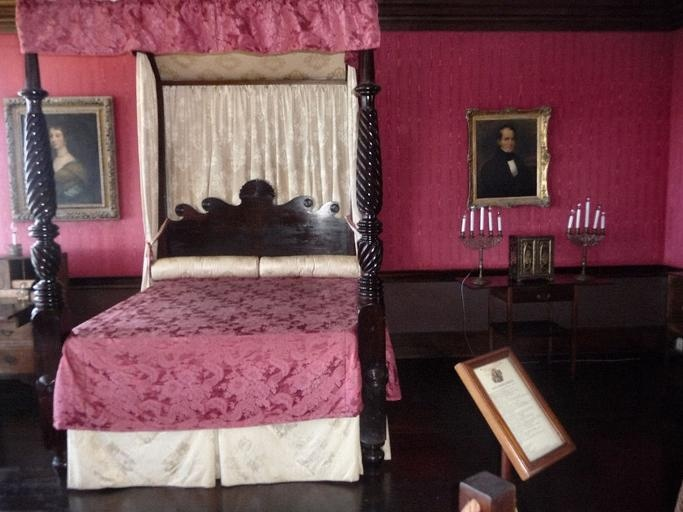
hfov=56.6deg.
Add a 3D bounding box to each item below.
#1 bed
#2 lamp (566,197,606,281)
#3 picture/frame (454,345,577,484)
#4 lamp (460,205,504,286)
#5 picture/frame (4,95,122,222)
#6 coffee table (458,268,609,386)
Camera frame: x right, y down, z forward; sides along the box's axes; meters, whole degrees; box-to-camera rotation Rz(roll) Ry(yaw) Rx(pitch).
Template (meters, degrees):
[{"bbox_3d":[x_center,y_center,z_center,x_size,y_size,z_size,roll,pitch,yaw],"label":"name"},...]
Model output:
[{"bbox_3d":[-0.856,0.498,5.857,2.601,2.030,3.468,0,7,8],"label":"bed"},{"bbox_3d":[2.443,-0.179,6.423,0.367,0.803,0.765,3,12,26],"label":"lamp"},{"bbox_3d":[1.054,0.957,3.786,0.664,0.831,0.185,-23,-11,-40],"label":"picture/frame"},{"bbox_3d":[1.413,-0.104,6.395,0.423,0.795,0.235,-1,21,9],"label":"lamp"},{"bbox_3d":[-2.609,-0.967,5.986,1.312,1.564,0.078,0,6,1],"label":"picture/frame"},{"bbox_3d":[1.848,0.653,6.239,1.108,0.880,0.710,-3,8,-1],"label":"coffee table"}]
